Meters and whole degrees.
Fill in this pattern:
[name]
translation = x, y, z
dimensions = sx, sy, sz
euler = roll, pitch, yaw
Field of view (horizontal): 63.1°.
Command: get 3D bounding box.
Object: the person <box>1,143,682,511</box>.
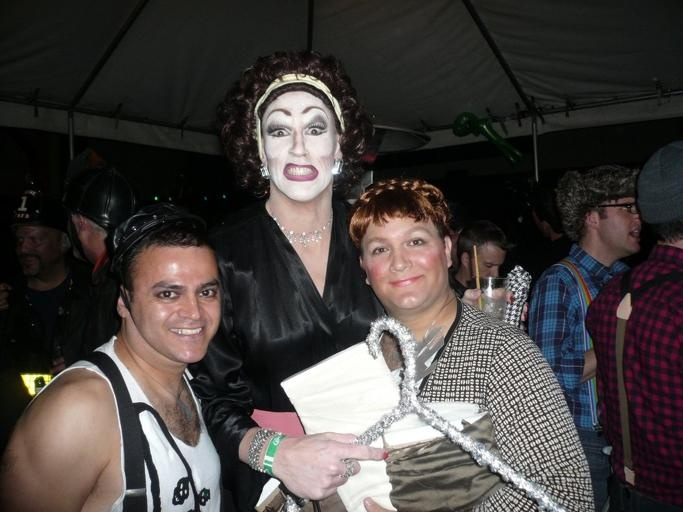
[person]
translation = 0.003, 0.364, 3.055
dimensions = 1.550, 0.908, 2.350
euler = -10, 14, -37

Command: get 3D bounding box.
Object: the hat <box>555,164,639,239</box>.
[hat]
translation = 2.144, -0.459, 4.602
dimensions = 0.597, 0.648, 0.494
euler = 13, 9, 24

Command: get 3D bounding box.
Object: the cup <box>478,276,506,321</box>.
[cup]
translation = 0.913, 0.251, 3.499
dimensions = 0.213, 0.355, 0.221
euler = 1, -4, 0
